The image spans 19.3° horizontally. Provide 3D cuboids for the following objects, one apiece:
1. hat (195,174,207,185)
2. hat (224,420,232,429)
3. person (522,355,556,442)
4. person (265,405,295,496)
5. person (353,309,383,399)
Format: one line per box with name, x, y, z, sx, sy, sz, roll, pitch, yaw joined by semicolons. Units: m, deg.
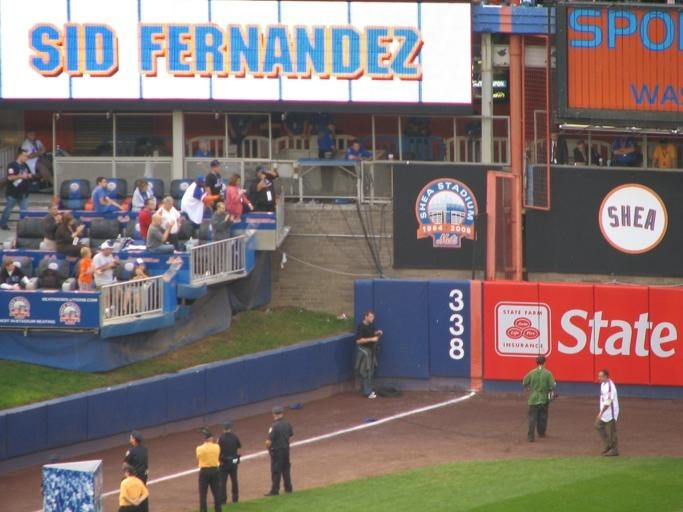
hat;-3.713;-2.012;53.103;0.263;0.294;0.319;1;17;-8
hat;-2.574;3.809;45.496;0.152;0.225;0.542;0;6;-4
person;4.766;3.352;48.027;0.749;1.994;0.827;0;6;5
person;-1.386;4.409;45.896;0.571;1.952;0.734;0;6;-1
person;0.710;2.458;51.039;0.633;2.162;0.760;0;6;5
